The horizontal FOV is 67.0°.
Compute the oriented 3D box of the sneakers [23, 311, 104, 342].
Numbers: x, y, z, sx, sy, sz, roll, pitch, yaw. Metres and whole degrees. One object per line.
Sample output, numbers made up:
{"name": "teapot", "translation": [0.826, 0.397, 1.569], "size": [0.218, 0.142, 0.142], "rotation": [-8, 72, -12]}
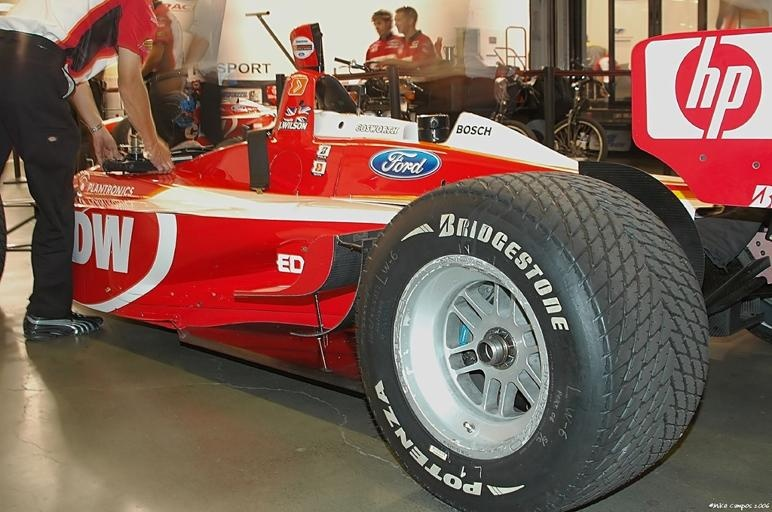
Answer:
{"name": "sneakers", "translation": [-1.848, 0.406, 3.399], "size": [0.446, 0.207, 0.156], "rotation": [-7, 10, -32]}

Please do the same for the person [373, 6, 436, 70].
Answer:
{"name": "person", "translation": [0.428, -3.936, 10.384], "size": [0.998, 1.483, 1.149], "rotation": [-5, 12, -16]}

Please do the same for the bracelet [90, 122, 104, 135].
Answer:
{"name": "bracelet", "translation": [-1.723, -0.748, 3.448], "size": [0.086, 0.069, 0.022], "rotation": [5, 24, 33]}
